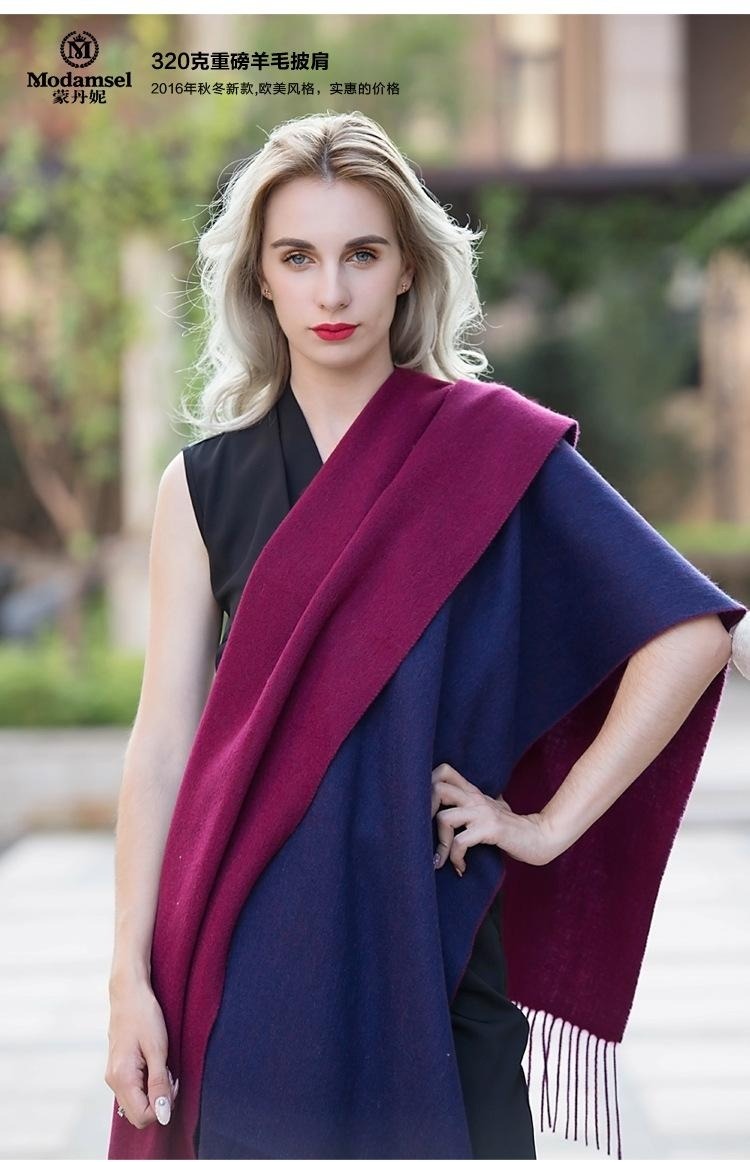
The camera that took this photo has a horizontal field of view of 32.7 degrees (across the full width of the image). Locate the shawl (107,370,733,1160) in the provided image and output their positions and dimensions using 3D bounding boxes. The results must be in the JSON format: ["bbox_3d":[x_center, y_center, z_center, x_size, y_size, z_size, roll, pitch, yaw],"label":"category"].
[{"bbox_3d":[0.023,0.235,1.577,0.689,0.947,0.511,-17,18,-39],"label":"shawl"}]
